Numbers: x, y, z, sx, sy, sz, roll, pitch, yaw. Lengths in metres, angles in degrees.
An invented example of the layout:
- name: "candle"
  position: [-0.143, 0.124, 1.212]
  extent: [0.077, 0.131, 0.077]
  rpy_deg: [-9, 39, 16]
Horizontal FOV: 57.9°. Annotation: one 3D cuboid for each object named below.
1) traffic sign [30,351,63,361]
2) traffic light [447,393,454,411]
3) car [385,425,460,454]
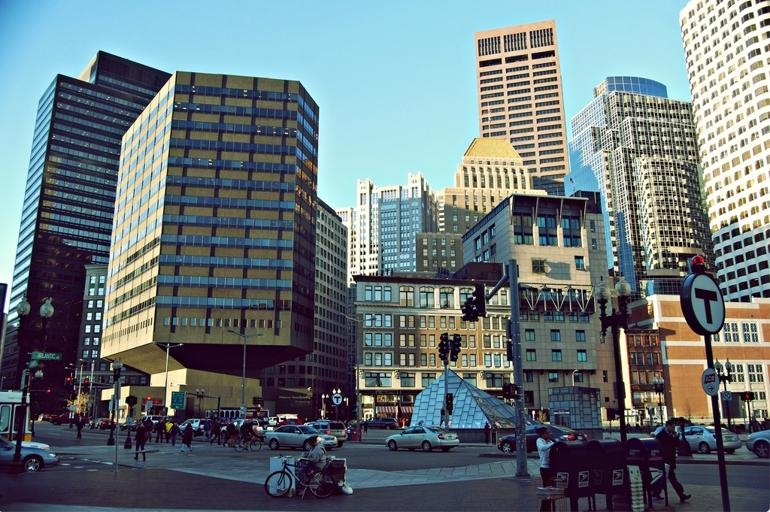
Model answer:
- name: "traffic sign"
  position: [-27.466, 8.195, 56.614]
  extent: [2.257, 0.727, 1.595]
  rpy_deg: [5, -16, -17]
- name: "traffic light"
  position: [6.860, 15.632, 74.278]
  extent: [0.504, 1.553, 0.769]
  rpy_deg: [-8, -17, 26]
- name: "car"
  position: [3.889, 18.711, 71.169]
  extent: [6.662, 2.469, 1.937]
  rpy_deg: [-7, -17, 23]
